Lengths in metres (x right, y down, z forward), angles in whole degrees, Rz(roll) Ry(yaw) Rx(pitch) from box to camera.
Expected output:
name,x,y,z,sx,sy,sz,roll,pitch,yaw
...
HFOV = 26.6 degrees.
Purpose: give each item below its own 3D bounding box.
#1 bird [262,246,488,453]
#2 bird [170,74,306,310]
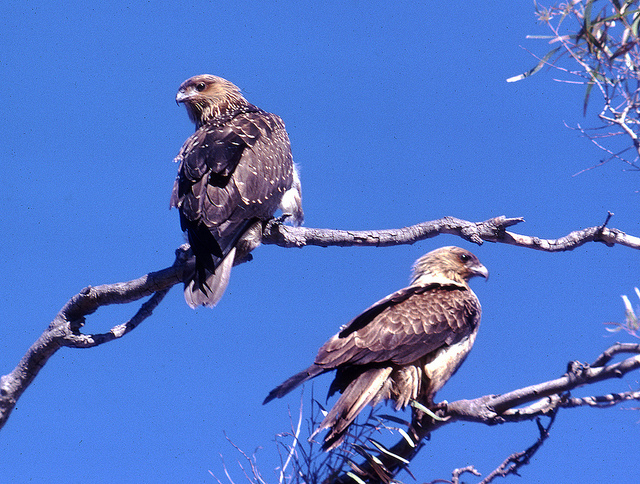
name,x,y,z,sx,sy,sz,roll,pitch,yaw
bird,0.465,0.752,9.991,2.010,1.526,0.746,3,-24,-32
bird,-0.648,-0.534,10.229,0.879,2.155,1.035,-10,-18,7
